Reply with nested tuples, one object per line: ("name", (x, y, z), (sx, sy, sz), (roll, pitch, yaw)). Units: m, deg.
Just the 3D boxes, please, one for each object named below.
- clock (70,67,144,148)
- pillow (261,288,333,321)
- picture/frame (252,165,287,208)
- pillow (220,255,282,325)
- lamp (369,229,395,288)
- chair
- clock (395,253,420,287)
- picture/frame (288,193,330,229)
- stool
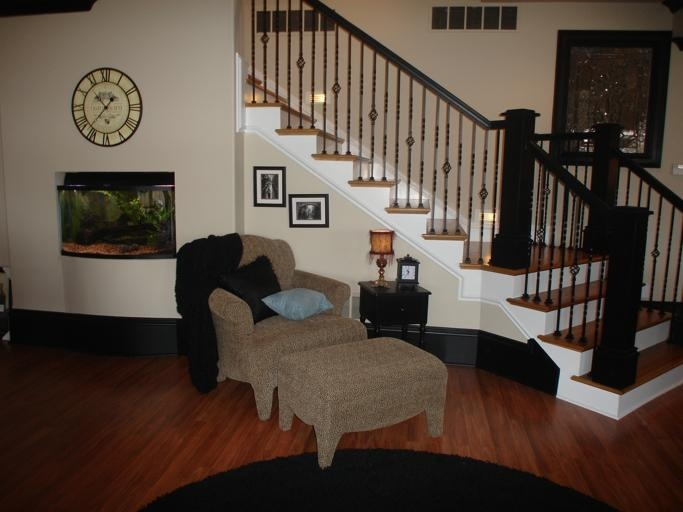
("clock", (-2.199, -1.429, 4.900), (0.658, 0.773, 0.059), (2, 14, 5))
("pillow", (-0.364, 0.397, 4.470), (0.345, 0.151, 0.331), (-11, 22, -38))
("picture/frame", (-0.703, -0.695, 5.089), (0.379, 0.468, 0.033), (1, 12, 0))
("pillow", (-0.775, 0.266, 4.502), (0.149, 0.490, 0.512), (-34, -6, 39))
("lamp", (0.379, -0.002, 4.886), (0.244, 0.509, 0.342), (0, 12, 4))
("chair", (-0.611, 0.532, 4.668), (1.288, 1.315, 1.377), (7, 12, 38))
("clock", (0.614, 0.143, 4.840), (0.232, 0.342, 0.241), (0, 7, 1))
("picture/frame", (-0.307, -0.454, 5.055), (0.312, 0.283, 0.025), (1, 10, 3))
("stool", (0.181, 1.100, 3.988), (1.100, 0.575, 0.812), (-4, 0, -30))
